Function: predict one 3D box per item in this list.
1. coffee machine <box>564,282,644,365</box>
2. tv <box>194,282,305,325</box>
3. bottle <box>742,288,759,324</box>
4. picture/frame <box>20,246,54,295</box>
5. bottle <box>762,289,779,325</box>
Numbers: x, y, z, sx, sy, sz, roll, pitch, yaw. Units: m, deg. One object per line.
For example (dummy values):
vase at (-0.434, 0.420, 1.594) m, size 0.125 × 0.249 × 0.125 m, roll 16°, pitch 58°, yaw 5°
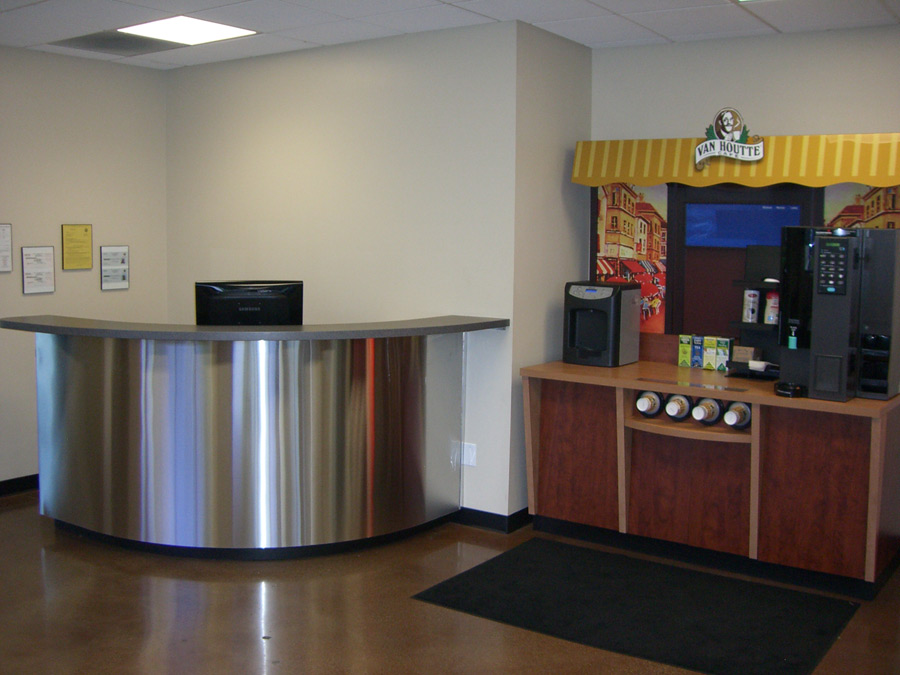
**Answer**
coffee machine at (1.114, -0.111, 5.807) m, size 0.543 × 0.583 × 0.545 m, roll 2°, pitch 4°, yaw 10°
tv at (-1.367, -0.232, 5.402) m, size 0.613 × 0.319 × 0.416 m, roll -1°, pitch 9°, yaw -6°
bottle at (2.015, -0.220, 5.292) m, size 0.095 × 0.207 × 0.082 m, roll 4°, pitch 11°, yaw 22°
picture/frame at (-3.379, -0.553, 6.522) m, size 0.057 × 0.392 × 0.269 m, roll 6°, pitch 12°, yaw 30°
bottle at (2.114, -0.202, 5.215) m, size 0.080 × 0.226 × 0.118 m, roll 3°, pitch 11°, yaw 16°
